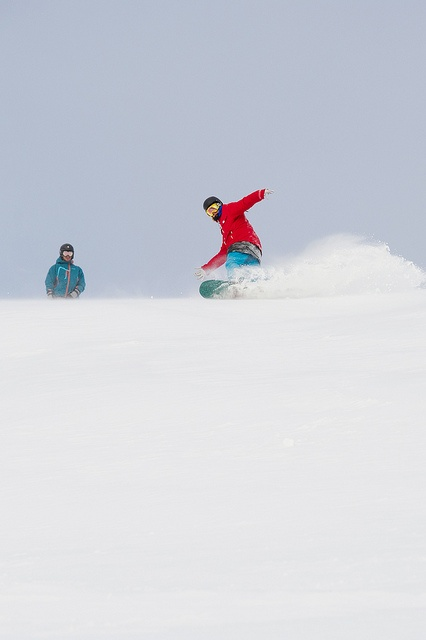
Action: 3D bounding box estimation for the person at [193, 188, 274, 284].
[{"bbox_3d":[0.227,-0.654,7.727,0.721,0.581,1.023,-4,35,-4],"label":"person"}]

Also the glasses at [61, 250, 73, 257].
[{"bbox_3d":[-1.569,-0.719,9.761,0.075,0.075,0.086,-3,23,-12],"label":"glasses"}]

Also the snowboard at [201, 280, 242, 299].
[{"bbox_3d":[0.072,-0.290,8.257,0.323,0.125,0.182,-4,8,8],"label":"snowboard"}]
